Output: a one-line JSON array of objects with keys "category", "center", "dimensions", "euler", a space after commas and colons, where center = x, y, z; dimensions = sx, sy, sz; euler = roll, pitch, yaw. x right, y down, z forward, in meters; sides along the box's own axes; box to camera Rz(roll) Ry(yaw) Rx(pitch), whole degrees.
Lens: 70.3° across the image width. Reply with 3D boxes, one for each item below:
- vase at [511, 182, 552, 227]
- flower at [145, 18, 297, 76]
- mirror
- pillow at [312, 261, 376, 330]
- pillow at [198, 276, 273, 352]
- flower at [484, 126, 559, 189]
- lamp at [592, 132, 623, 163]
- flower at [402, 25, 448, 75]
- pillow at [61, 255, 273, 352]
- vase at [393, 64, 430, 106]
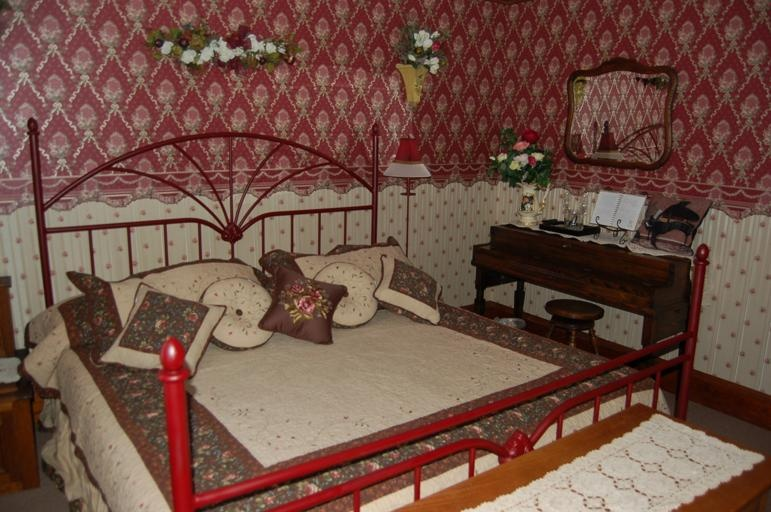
[{"category": "vase", "center": [1.391, -0.486, 5.135], "dimensions": [0.462, 0.536, 0.347], "euler": [2, 9, 5]}, {"category": "flower", "center": [-1.163, -1.521, 4.039], "dimensions": [1.086, 0.348, 0.126], "euler": [-2, 9, -28]}, {"category": "mirror", "center": [2.018, -1.207, 4.743], "dimensions": [1.158, 0.876, 0.023], "euler": [-4, 10, -16]}, {"category": "pillow", "center": [-0.255, 0.298, 4.010], "dimensions": [0.460, 0.417, 0.144], "euler": [21, -17, -9]}, {"category": "pillow", "center": [-0.914, 0.361, 3.498], "dimensions": [0.470, 0.432, 0.147], "euler": [20, -44, -25]}, {"category": "flower", "center": [1.223, -0.856, 5.061], "dimensions": [0.647, 0.584, 0.535], "euler": [3, -8, -2]}, {"category": "lamp", "center": [1.971, -0.962, 4.839], "dimensions": [0.233, 0.215, 0.249], "euler": [-15, 21, -28]}, {"category": "flower", "center": [0.393, -1.832, 4.832], "dimensions": [0.500, 0.413, 0.261], "euler": [-6, 11, -43]}, {"category": "pillow", "center": [-1.328, 0.229, 3.553], "dimensions": [0.888, 0.222, 0.731], "euler": [1, 28, -41]}, {"category": "vase", "center": [0.255, -1.556, 4.884], "dimensions": [0.317, 0.312, 0.302], "euler": [23, 44, 28]}]
